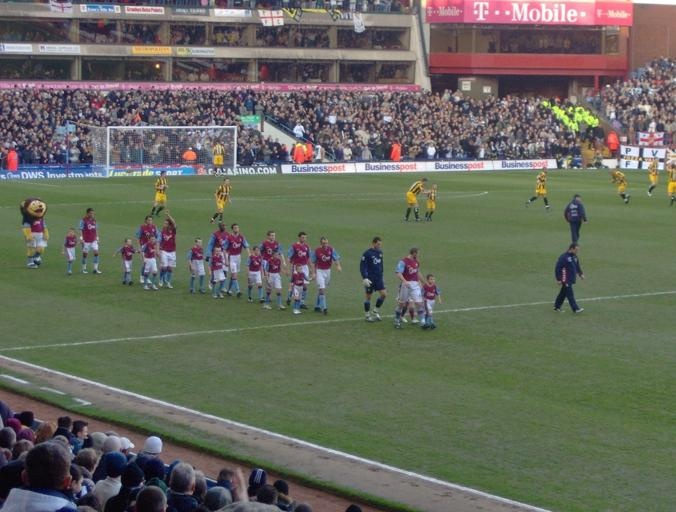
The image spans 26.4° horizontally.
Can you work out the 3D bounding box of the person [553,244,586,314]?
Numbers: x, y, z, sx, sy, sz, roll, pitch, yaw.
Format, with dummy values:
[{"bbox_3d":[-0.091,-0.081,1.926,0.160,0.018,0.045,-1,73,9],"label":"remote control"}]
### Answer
[{"bbox_3d":[8.142,0.804,51.354,1.102,2.301,1.273,4,15,-2],"label":"person"}]
